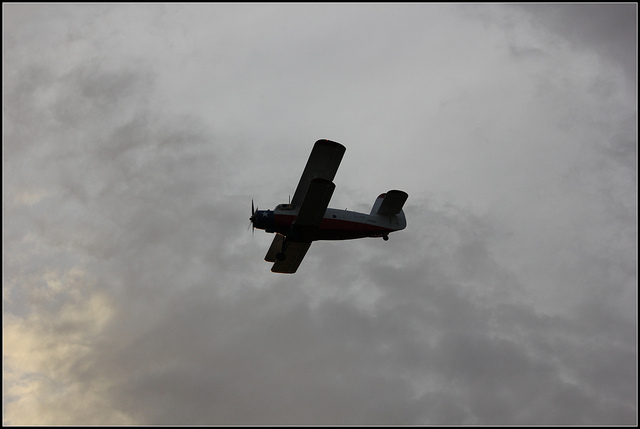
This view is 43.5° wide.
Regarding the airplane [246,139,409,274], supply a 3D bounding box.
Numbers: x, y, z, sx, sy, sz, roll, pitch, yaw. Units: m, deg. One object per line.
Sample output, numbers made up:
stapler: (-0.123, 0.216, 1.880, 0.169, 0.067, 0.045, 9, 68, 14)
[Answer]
airplane: (0.578, -0.159, 43.345, 7.417, 9.198, 3.314, 6, 49, -14)
